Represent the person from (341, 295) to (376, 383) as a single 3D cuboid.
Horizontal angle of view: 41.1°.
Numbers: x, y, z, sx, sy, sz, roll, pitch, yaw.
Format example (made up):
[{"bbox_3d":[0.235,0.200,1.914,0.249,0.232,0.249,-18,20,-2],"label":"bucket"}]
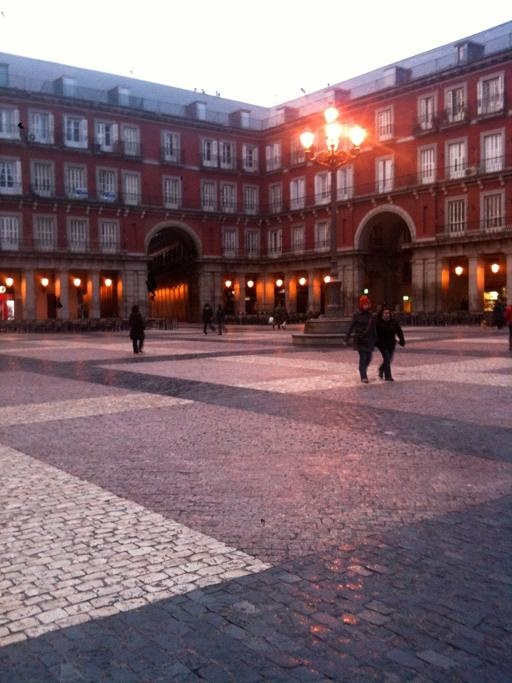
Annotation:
[{"bbox_3d":[1.847,-0.105,12.334,0.510,1.418,2.501,0,4,8],"label":"person"}]
